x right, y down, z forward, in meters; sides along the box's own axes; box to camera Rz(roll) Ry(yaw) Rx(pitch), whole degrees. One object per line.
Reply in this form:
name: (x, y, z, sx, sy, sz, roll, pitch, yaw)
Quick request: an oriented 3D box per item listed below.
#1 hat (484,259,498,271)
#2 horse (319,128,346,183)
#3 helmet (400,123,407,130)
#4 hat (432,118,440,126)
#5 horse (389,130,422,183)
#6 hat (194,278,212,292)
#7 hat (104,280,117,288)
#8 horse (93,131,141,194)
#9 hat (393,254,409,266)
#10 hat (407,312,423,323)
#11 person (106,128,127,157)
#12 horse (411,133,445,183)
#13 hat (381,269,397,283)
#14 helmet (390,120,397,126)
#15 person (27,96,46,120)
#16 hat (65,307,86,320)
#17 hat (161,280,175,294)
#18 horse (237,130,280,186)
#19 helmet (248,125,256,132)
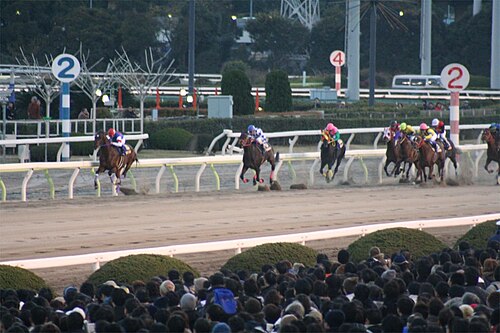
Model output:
hat: (5.732, 2.354, 24.044, 0.276, 0.267, 0.285, -1, 3, 14)
horse: (2.472, -0.402, 30.913, 0.898, 1.779, 0.449, -5, 6, -45)
helmet: (4.747, -1.226, 31.254, 0.169, 0.232, 0.183, 3, 2, 0)
hat: (5.831, -1.377, 31.723, 0.200, 0.156, 0.284, 0, 17, 20)
horse: (4.860, -0.317, 31.556, 0.533, 1.308, 1.925, 6, 0, 29)
hat: (-1.160, 2.761, 23.625, 0.365, 0.373, 0.271, 9, 5, -1)
hat: (-3.280, 2.743, 23.644, 0.186, 0.058, 0.182, 22, 8, 39)
horse: (-3.931, -0.102, 29.279, 0.572, 1.714, 2.631, 3, 1, 19)
hat: (3.604, 2.251, 24.262, 0.231, 0.092, 0.300, 1, 26, -9)
hat: (3.740, 3.436, 22.908, 0.344, 0.205, 0.275, -1, 4, 7)
person: (-3.838, -0.749, 28.835, 0.322, 0.930, 0.326, -11, 24, 29)
horse: (5.587, -0.237, 31.271, 0.457, 1.327, 1.876, 6, 0, 41)
hat: (3.251, 2.559, 23.649, 0.286, 0.272, 0.273, -5, -12, 39)
helmet: (4.466, -1.330, 31.292, 0.156, 0.218, 0.177, 11, -36, 23)
person: (-7.510, -2.019, 34.951, 0.404, 0.784, 0.843, -2, 4, -15)
hat: (-4.025, 3.384, 23.104, 0.455, 0.285, 0.501, -2, 4, -11)
hat: (-1.932, 2.797, 23.493, 0.320, 0.297, 0.255, 16, 48, 12)
horse: (0.232, -0.205, 30.531, 0.548, 1.632, 2.698, 3, 2, 25)
helmet: (0.040, -1.112, 30.214, 0.243, 0.211, 0.173, 10, -16, -39)
